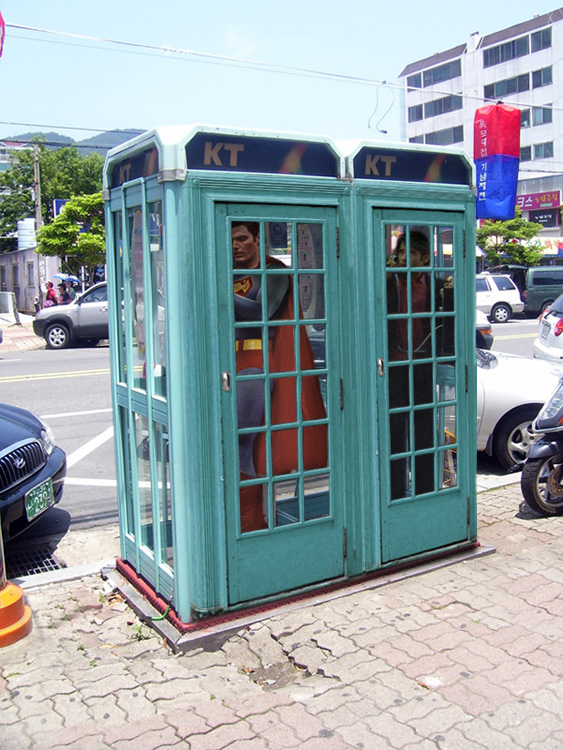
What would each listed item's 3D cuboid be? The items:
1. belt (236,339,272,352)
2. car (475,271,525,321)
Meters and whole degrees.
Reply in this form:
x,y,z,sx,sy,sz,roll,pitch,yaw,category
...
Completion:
x,y,z,sx,sy,sz,roll,pitch,yaw,category
-0.145,-0.139,3.303,0.014,0.057,0.162,2,5,44,belt
7.475,-2.698,24.354,2.052,1.726,0.968,-5,5,-39,car
